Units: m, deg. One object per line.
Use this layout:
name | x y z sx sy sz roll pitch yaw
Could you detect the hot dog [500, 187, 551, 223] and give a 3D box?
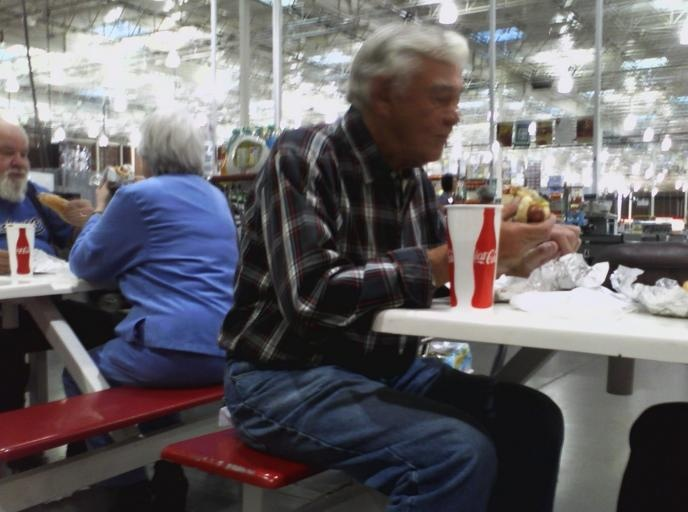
hot dog | 0.459 -0.134 1.364 0.081 0.043 0.104 -32 42 -12
